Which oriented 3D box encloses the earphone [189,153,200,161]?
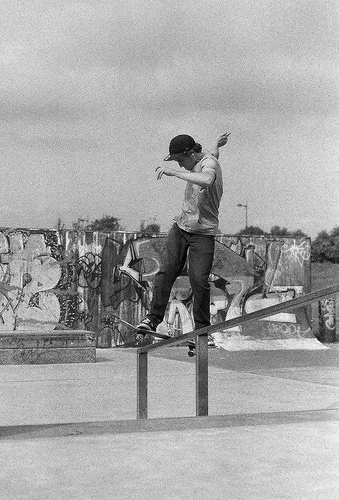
[{"bbox_3d":[0.164,-0.637,9.260,0.014,0.055,0.013,-35,-6,17],"label":"earphone"}]

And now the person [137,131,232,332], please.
[{"bbox_3d":[0.091,-0.125,9.134,0.519,1.327,0.745,1,-3,1],"label":"person"}]
